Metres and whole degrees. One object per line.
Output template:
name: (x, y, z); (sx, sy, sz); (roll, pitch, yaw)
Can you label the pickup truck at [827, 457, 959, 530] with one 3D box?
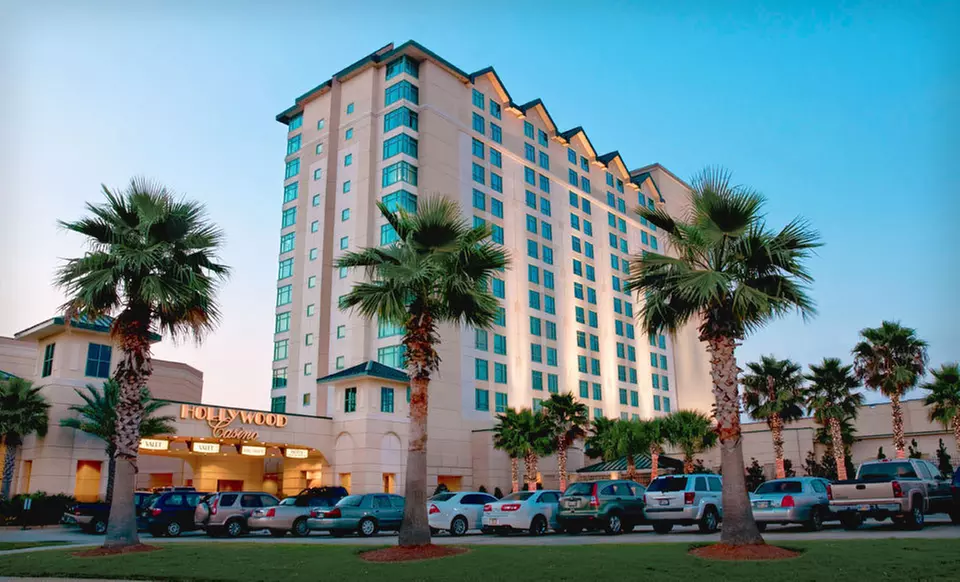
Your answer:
pickup truck: (17.888, 8.785, 28.272); (5.085, 2.839, 2.104); (4, -19, -19)
